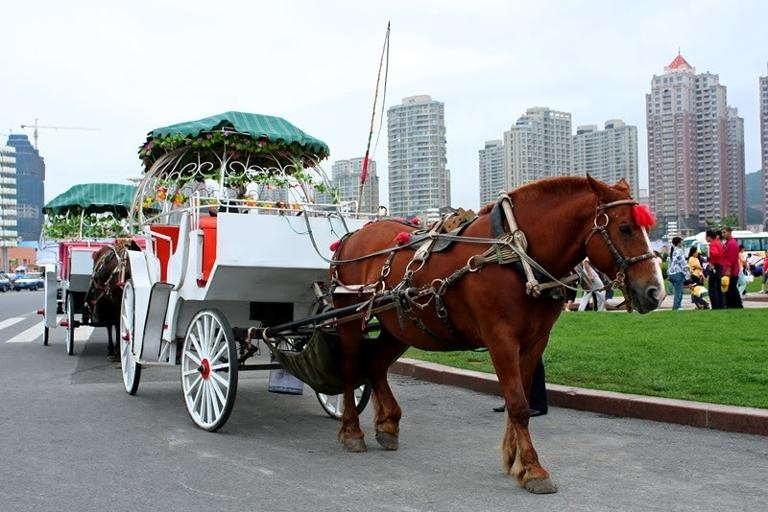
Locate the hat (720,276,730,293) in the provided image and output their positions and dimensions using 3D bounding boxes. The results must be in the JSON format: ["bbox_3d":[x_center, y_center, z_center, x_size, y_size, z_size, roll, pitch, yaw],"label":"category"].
[{"bbox_3d":[8.083,0.646,17.427,0.178,0.364,0.260,0,1,25],"label":"hat"}]

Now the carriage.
[{"bbox_3d":[-0.889,0.232,10.943,10.261,4.553,3.163,-2,-3,44],"label":"carriage"}]
